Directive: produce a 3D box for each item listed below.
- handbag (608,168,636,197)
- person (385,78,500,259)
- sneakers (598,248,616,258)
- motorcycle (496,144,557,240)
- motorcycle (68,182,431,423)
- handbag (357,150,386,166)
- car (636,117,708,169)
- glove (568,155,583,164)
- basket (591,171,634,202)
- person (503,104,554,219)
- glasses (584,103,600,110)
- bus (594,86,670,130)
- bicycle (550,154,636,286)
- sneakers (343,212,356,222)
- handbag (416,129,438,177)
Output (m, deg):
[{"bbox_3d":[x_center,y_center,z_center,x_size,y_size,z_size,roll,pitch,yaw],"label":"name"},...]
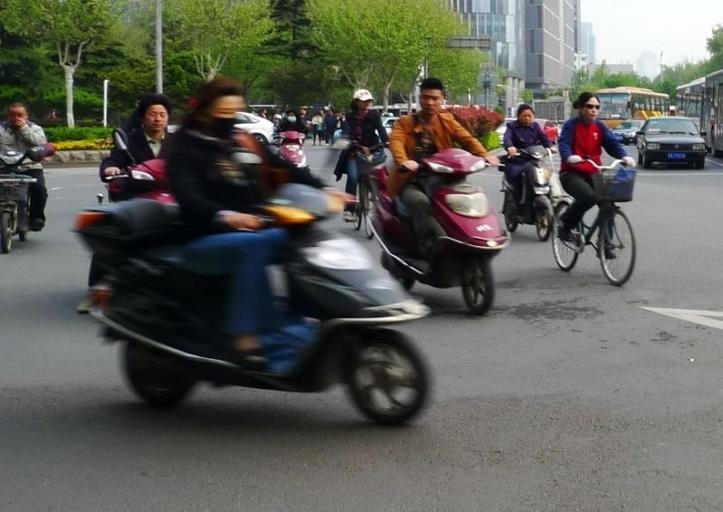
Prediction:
[{"bbox_3d":[2.986,-0.858,7.791,0.325,0.387,0.296,6,24,27],"label":"handbag"},{"bbox_3d":[0.687,-1.031,7.494,1.075,1.215,1.843,-3,7,-23],"label":"person"},{"bbox_3d":[2.899,-0.040,8.057,0.067,0.137,0.244,-5,11,-25],"label":"sneakers"},{"bbox_3d":[2.939,-1.139,11.845,0.702,1.539,2.584,0,8,-3],"label":"motorcycle"},{"bbox_3d":[-0.714,0.271,4.265,2.318,1.276,0.795,3,7,25],"label":"motorcycle"},{"bbox_3d":[0.169,-1.724,11.968,0.439,0.155,0.335,3,7,7],"label":"handbag"},{"bbox_3d":[12.099,-4.383,26.692,2.263,1.809,2.447,3,11,20],"label":"car"},{"bbox_3d":[2.508,-1.147,8.054,0.140,0.099,0.117,6,12,33],"label":"glove"},{"bbox_3d":[2.907,-0.836,7.892,0.520,0.356,0.425,1,13,12],"label":"basket"},{"bbox_3d":[2.767,-2.006,11.427,0.525,0.664,1.013,-3,39,2],"label":"person"},{"bbox_3d":[2.850,-1.847,8.350,0.237,0.077,0.110,-9,14,-41],"label":"glasses"},{"bbox_3d":[23.537,-12.675,59.174,3.143,3.822,11.640,9,14,38],"label":"bus"},{"bbox_3d":[2.909,-0.328,8.589,0.798,1.180,1.841,0,4,-15],"label":"bicycle"},{"bbox_3d":[-0.240,-0.743,12.786,0.272,0.165,0.136,0,19,13],"label":"sneakers"},{"bbox_3d":[0.656,-1.068,6.987,0.207,0.264,0.430,3,42,20],"label":"handbag"}]
